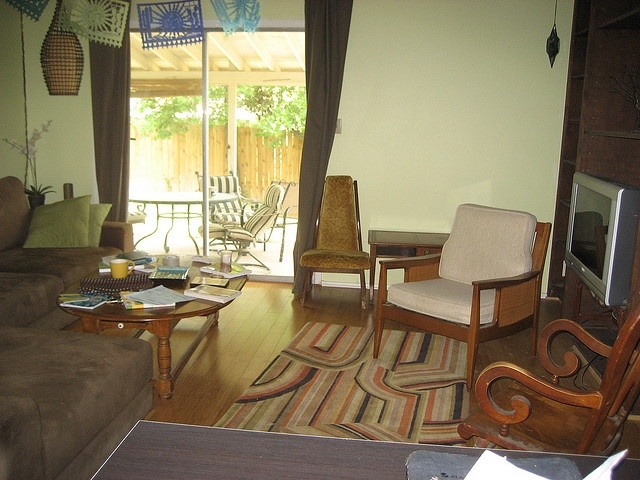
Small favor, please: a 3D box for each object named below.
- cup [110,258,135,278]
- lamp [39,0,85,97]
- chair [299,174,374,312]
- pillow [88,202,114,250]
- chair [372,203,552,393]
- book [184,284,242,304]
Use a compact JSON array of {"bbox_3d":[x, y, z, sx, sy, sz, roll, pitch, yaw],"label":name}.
[{"bbox_3d":[-1.278,0.183,3.301,0.136,0.105,0.109,2,7,-9],"label":"cup"},{"bbox_3d":[-2.030,-1.511,3.999,0.298,0.717,0.420,-6,16,-28],"label":"lamp"},{"bbox_3d":[0.140,-0.003,4.632,0.626,1.097,0.722,2,14,4],"label":"chair"},{"bbox_3d":[-1.881,-0.129,4.331,0.103,0.295,0.288,1,-3,25],"label":"pillow"},{"bbox_3d":[1.035,0.287,3.627,1.255,1.270,1.028,-8,12,-43],"label":"chair"},{"bbox_3d":[-0.646,0.320,3.037,0.180,0.032,0.137,7,12,21],"label":"book"}]
